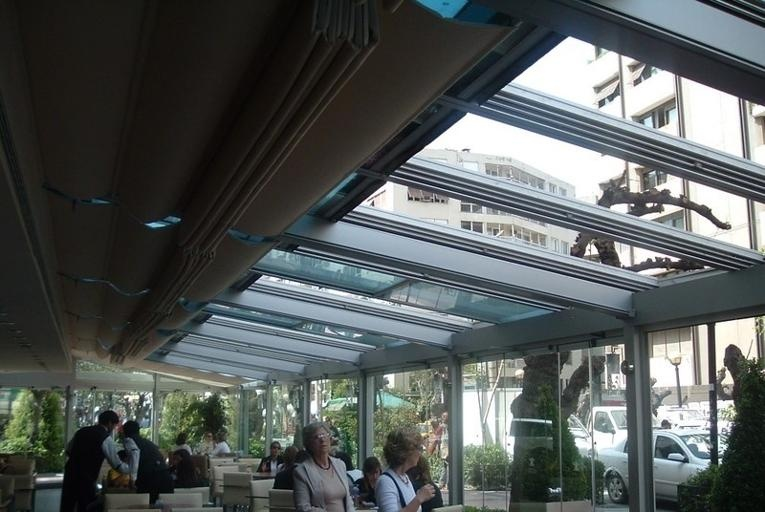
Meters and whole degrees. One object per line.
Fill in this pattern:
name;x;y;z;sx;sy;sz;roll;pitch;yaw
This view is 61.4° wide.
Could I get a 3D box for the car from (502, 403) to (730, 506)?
car;3.180;2.691;8.783;0.913;0.993;2.468;17;-29;-36
